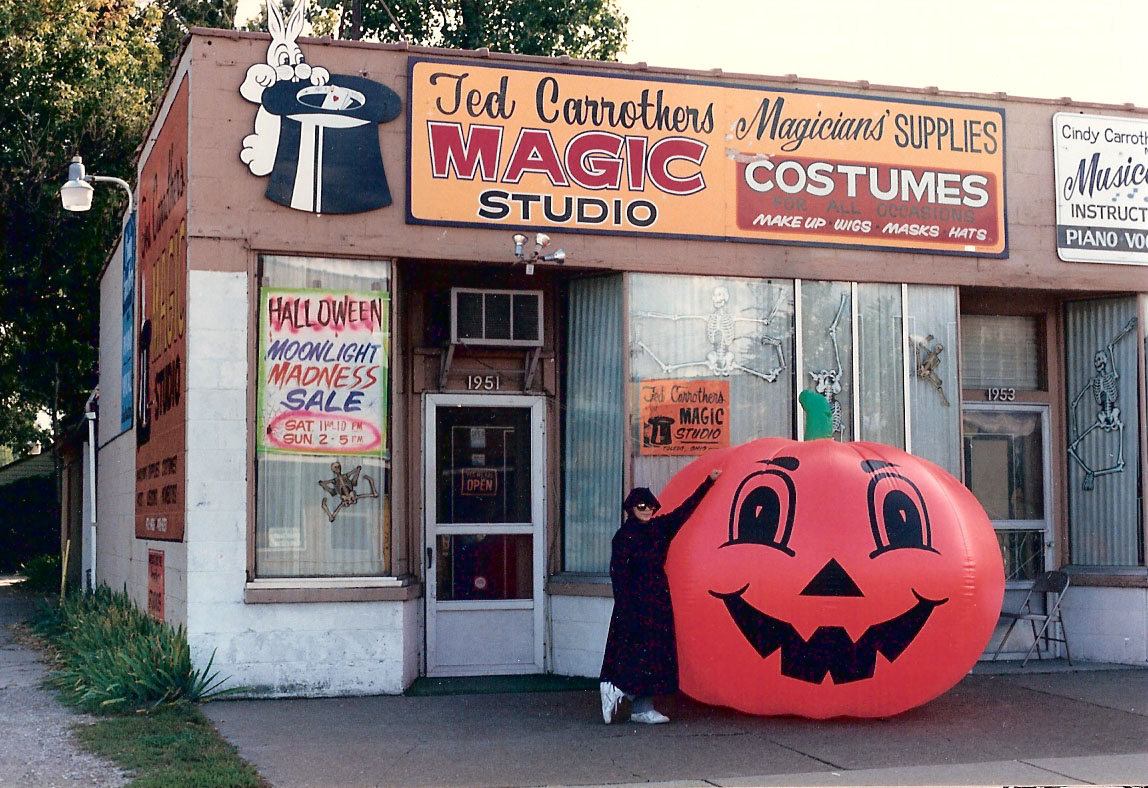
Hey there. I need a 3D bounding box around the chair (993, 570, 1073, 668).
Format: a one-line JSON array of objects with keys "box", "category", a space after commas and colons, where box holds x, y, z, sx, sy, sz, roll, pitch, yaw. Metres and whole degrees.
[{"box": [5.802, 2.783, 18.825, 0.847, 1.140, 0.711, 3, -3, -32], "category": "chair"}]

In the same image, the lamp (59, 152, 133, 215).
[{"box": [-6.675, -2.918, 20.825, 1.028, 0.694, 0.442, 3, 5, -34], "category": "lamp"}]

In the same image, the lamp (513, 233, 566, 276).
[{"box": [-0.413, -1.673, 17.678, 0.648, 0.469, 0.543, 0, 7, -3], "category": "lamp"}]
